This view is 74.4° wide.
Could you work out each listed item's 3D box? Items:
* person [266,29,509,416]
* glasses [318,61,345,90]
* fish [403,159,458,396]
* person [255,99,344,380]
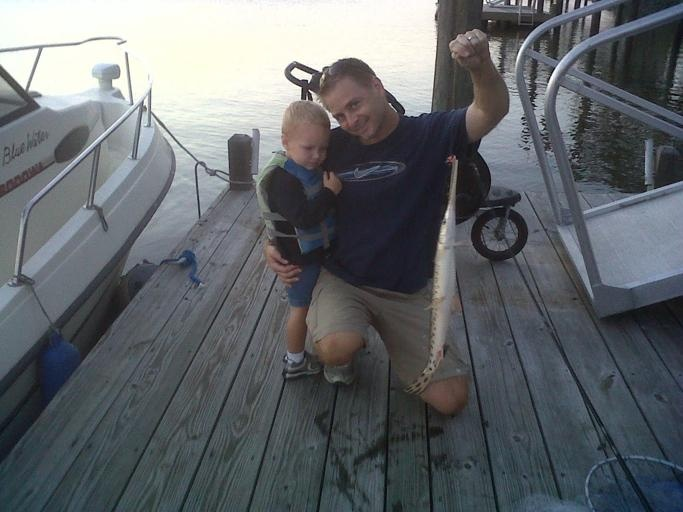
[{"bbox_3d":[0.198,-0.169,2.201,1.009,1.870,0.918,3,15,12],"label":"person"},{"bbox_3d":[-0.054,-0.845,2.089,0.114,0.096,0.187,-6,39,3],"label":"glasses"},{"bbox_3d":[0.417,0.182,1.987,0.173,1.162,0.156,-2,22,-17],"label":"fish"},{"bbox_3d":[-0.275,-0.078,2.325,0.381,1.269,0.429,26,33,33],"label":"person"}]
